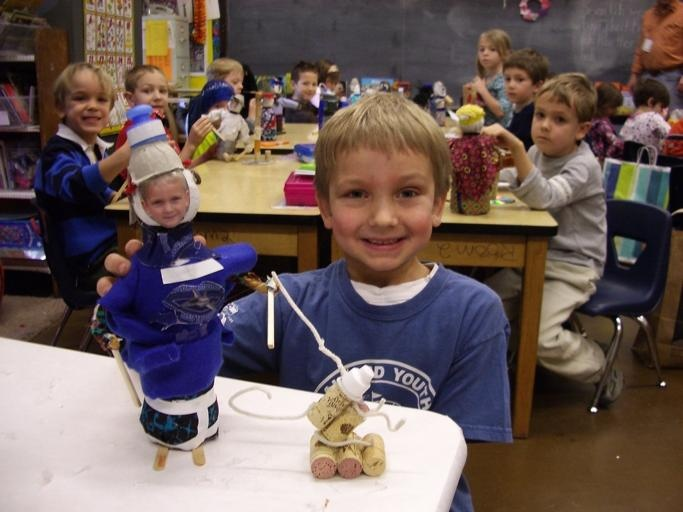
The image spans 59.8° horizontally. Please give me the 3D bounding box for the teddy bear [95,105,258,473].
[{"bbox_3d":[-0.281,0.064,1.011,0.277,0.605,0.167,-10,21,-34],"label":"teddy bear"}]

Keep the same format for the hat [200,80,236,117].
[{"bbox_3d":[-0.692,-0.892,3.354,0.191,0.205,0.171,-2,24,-12],"label":"hat"}]

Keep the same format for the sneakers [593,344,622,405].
[{"bbox_3d":[1.191,0.534,2.665,0.165,0.225,0.070,0,-19,44],"label":"sneakers"}]
